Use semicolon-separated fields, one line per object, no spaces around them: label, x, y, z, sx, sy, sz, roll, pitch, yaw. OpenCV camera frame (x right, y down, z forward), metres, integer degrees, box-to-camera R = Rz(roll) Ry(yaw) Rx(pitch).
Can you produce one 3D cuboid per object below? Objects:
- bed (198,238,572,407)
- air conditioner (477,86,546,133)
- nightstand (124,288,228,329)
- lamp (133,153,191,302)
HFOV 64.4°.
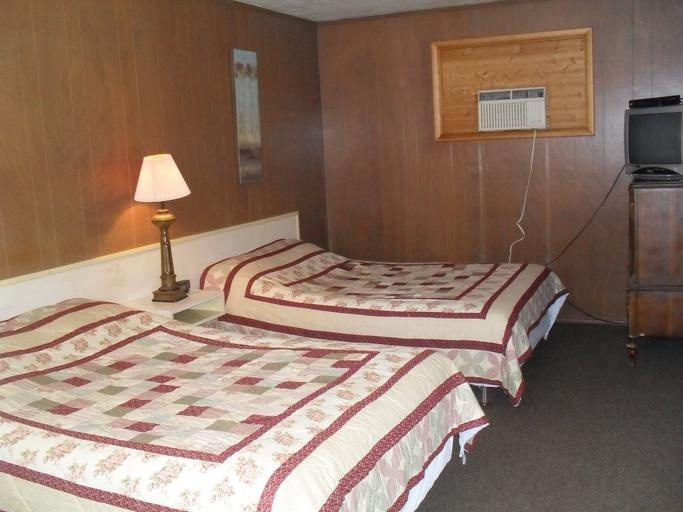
bed;0.390;0.410;3.959;2.590;1.021;1.329;2;9;24
air conditioner;1.567;-1.330;4.997;0.675;0.374;0.284;2;11;8
nightstand;-1.094;0.323;3.724;0.550;0.227;0.522;4;7;28
lamp;-1.229;-0.202;3.713;0.367;0.964;0.437;4;15;25
